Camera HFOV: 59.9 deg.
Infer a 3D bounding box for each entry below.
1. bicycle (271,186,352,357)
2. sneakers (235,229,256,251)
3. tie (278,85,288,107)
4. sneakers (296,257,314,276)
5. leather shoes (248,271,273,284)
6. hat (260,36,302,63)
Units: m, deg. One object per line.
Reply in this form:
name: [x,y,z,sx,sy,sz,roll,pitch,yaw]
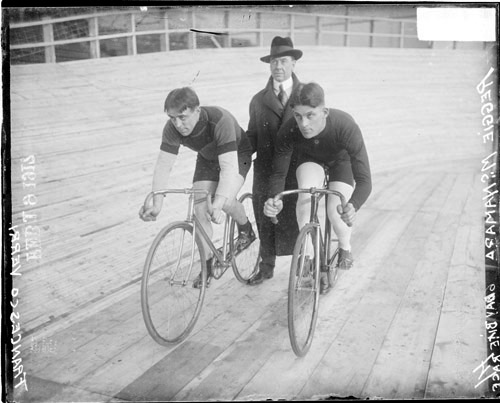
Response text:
bicycle: [0.436,0.463,3.113,0.434,1.161,0.862,8,12,40]
sneakers: [-0.032,0.305,3.631,0.080,0.091,0.229,-20,13,34]
tie: [0.238,-0.800,3.221,0.067,0.123,0.027,-10,11,12]
sneakers: [0.378,0.442,2.930,0.120,0.136,0.114,2,10,11]
leather shoes: [0.082,0.602,3.554,0.205,0.089,0.085,-9,0,-38]
hat: [0.232,-1.163,3.208,0.247,0.127,0.294,-3,12,-17]
